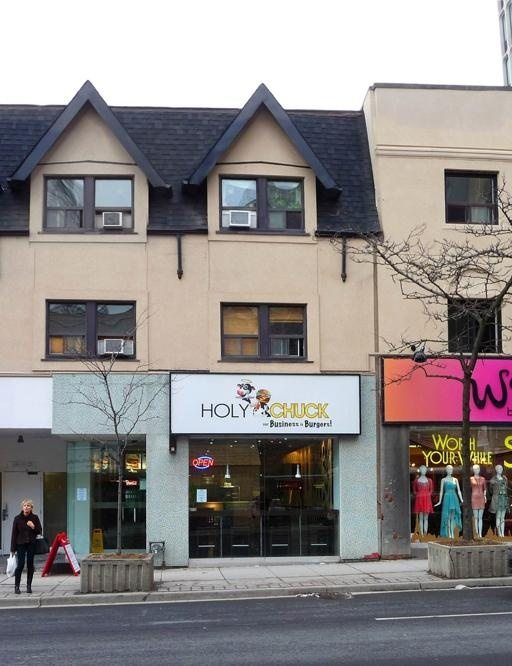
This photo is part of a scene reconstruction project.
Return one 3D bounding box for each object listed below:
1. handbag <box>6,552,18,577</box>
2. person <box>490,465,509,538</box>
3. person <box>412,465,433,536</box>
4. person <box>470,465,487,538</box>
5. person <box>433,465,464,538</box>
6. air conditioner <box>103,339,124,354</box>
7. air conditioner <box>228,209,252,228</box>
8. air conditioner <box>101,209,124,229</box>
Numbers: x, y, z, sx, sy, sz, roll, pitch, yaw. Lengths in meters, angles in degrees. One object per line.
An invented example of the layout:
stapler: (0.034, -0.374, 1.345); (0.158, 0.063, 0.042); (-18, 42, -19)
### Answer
handbag: (-4.439, 4.159, 23.650); (0.166, 0.393, 0.438); (0, -12, -13)
person: (5.375, 3.635, 28.446); (0.356, 1.537, 0.333); (8, -14, -41)
person: (3.654, 3.586, 27.968); (0.460, 1.452, 0.307); (-1, -11, -6)
person: (4.901, 3.627, 28.420); (0.369, 1.552, 0.284); (6, -13, -36)
person: (4.233, 3.619, 28.224); (0.653, 1.518, 0.289); (5, -13, -34)
air conditioner: (-3.022, 0.275, 27.528); (0.470, 0.450, 0.273); (1, -14, -4)
air conditioner: (-0.328, -2.410, 28.225); (0.583, 0.560, 0.315); (2, -13, -14)
air conditioner: (-3.068, -2.371, 27.756); (0.546, 0.513, 0.316); (1, -23, -7)
